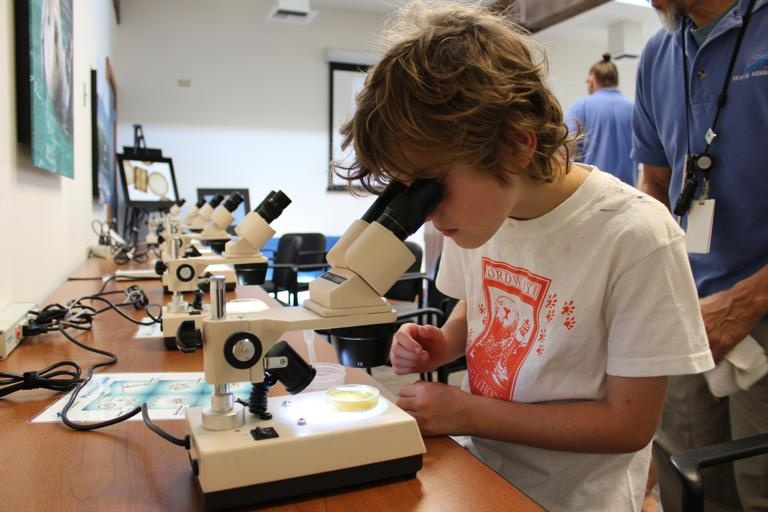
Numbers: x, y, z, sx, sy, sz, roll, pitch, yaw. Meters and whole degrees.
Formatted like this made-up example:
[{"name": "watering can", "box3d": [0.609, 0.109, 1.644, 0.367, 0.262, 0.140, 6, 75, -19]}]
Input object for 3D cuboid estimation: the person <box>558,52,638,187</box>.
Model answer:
[{"name": "person", "box3d": [1.572, -0.793, 4.263, 0.484, 1.348, 0.375, -16, 39, 3]}]
